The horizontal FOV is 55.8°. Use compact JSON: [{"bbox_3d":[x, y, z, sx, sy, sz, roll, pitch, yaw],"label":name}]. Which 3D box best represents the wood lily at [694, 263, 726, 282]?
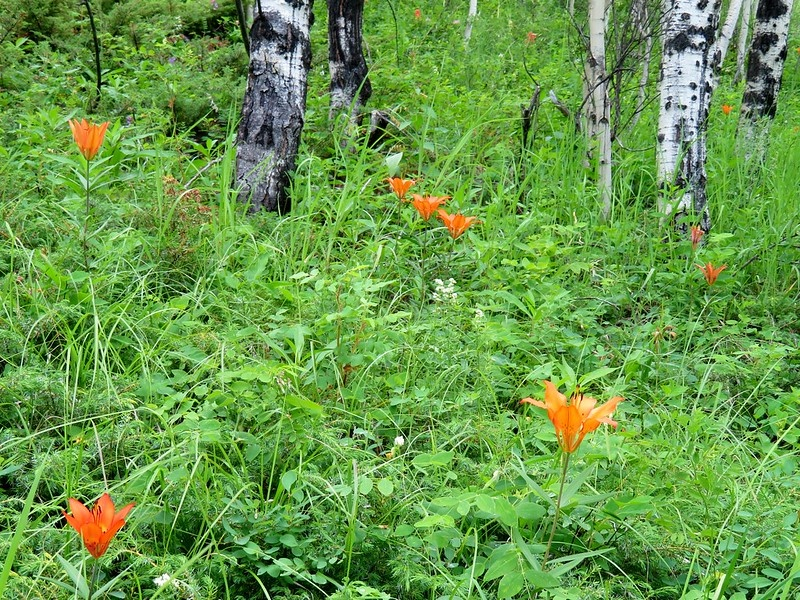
[{"bbox_3d":[1.975,-0.169,4.778,0.133,0.101,0.137,2,-1,-30],"label":"wood lily"}]

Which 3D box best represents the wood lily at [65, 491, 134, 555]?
[{"bbox_3d":[-1.169,0.878,2.870,0.198,0.221,0.194,3,10,-6],"label":"wood lily"}]

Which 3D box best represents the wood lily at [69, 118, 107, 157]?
[{"bbox_3d":[-1.690,-0.867,4.120,0.171,0.206,0.190,-9,15,-42],"label":"wood lily"}]

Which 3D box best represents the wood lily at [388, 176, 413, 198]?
[{"bbox_3d":[0.001,-0.707,4.563,0.143,0.108,0.160,1,-5,3],"label":"wood lily"}]

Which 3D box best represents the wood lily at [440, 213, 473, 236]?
[{"bbox_3d":[0.325,-0.440,4.360,0.154,0.094,0.156,16,10,12],"label":"wood lily"}]

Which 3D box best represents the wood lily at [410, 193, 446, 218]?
[{"bbox_3d":[0.150,-0.539,4.349,0.164,0.127,0.163,0,3,-44],"label":"wood lily"}]
